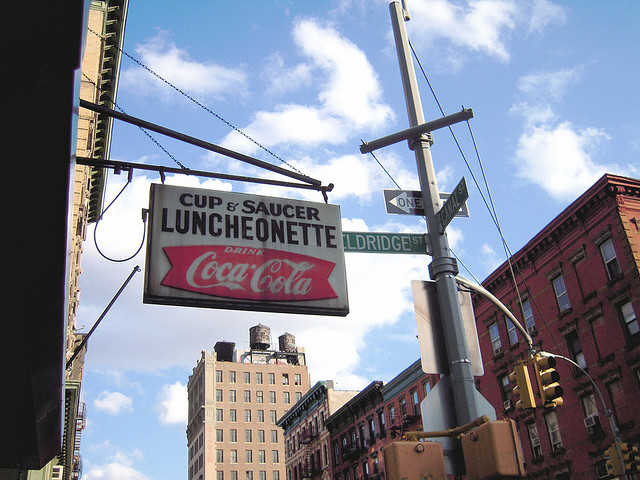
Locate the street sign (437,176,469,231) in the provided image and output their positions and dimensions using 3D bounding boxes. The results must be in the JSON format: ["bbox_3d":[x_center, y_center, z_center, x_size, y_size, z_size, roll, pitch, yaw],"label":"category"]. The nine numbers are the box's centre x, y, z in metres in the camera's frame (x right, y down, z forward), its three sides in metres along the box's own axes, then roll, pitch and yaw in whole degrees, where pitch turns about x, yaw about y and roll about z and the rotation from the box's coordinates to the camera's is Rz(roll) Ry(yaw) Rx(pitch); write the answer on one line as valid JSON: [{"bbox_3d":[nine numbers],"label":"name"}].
[{"bbox_3d":[1.698,-0.476,8.506,0.244,0.562,0.783,1,-33,-3],"label":"street sign"}]

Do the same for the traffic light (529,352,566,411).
[{"bbox_3d":[3.636,2.276,10.753,0.459,0.838,0.393,-22,-27,32],"label":"traffic light"}]

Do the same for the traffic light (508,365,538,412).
[{"bbox_3d":[3.206,2.347,10.537,0.258,0.657,0.344,6,-31,-24],"label":"traffic light"}]
